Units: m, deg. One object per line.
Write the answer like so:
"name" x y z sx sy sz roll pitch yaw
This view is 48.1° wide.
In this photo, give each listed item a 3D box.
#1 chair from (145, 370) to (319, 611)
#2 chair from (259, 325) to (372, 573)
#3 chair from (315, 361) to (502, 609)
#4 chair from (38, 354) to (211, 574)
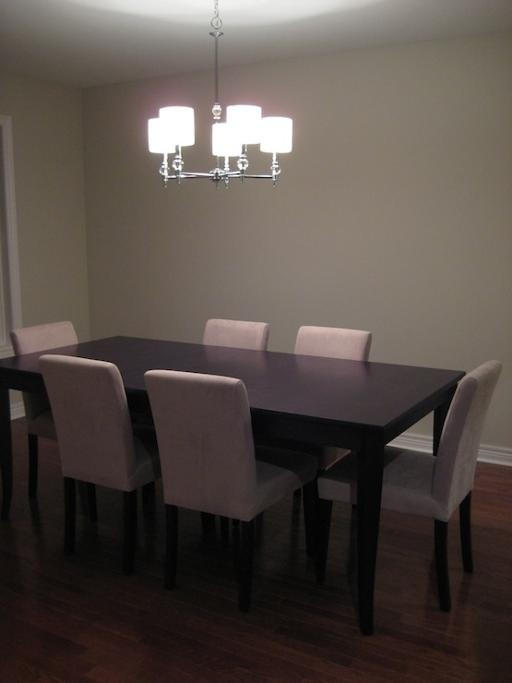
"chair" -0.074 0.440 1.898 0.370 0.742 0.583 3 6 28
"chair" 0.370 0.299 2.678 0.532 1.257 0.620 2 2 32
"chair" 0.587 0.384 2.201 0.628 1.205 0.587 6 9 33
"chair" -0.530 0.394 2.125 0.328 0.820 0.472 3 14 5
